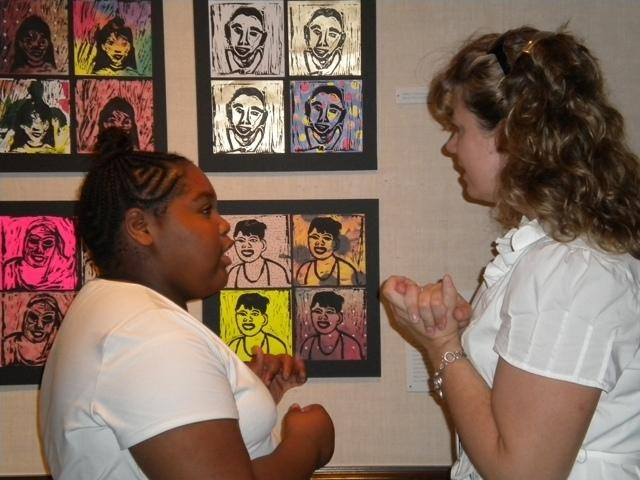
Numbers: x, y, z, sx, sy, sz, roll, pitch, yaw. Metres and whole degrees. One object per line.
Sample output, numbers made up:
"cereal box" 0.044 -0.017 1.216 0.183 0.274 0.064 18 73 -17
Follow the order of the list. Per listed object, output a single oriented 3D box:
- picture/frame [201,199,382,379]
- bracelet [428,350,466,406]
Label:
"picture/frame" -0.082 0.119 1.953 0.487 0.532 0.023 -2 2 2
"bracelet" 0.304 0.311 1.626 0.110 0.159 0.056 6 -1 -4
